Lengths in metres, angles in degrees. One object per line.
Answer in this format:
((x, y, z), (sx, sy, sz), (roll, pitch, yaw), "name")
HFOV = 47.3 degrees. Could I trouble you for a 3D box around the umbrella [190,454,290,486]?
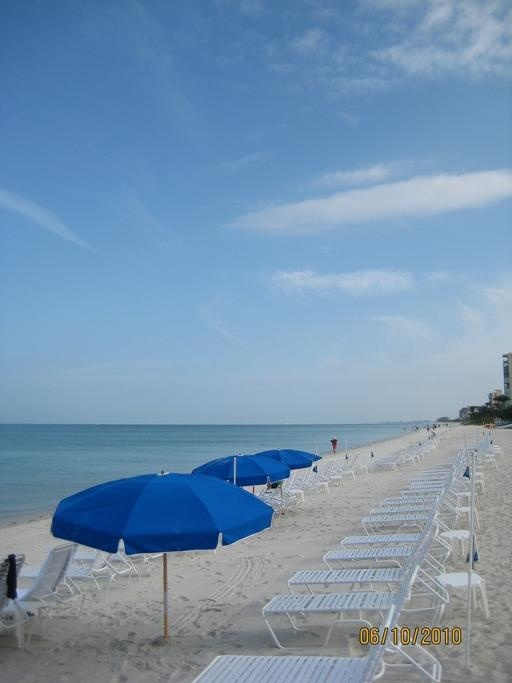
((-0.102, 2.051, 9.167), (1.272, 0.377, 1.225), (-5, -18, 28), "umbrella")
